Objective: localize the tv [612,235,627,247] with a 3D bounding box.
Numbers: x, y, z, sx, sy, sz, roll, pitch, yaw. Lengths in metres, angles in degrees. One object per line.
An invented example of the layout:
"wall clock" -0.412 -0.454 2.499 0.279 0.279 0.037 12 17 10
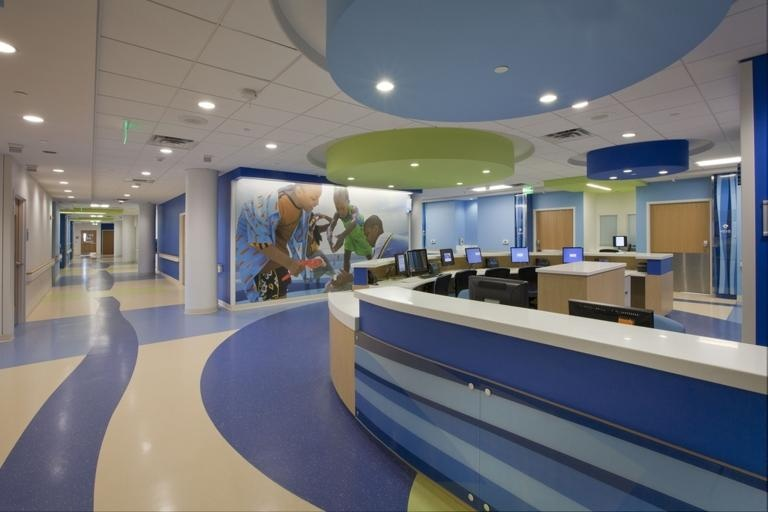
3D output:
"tv" 6.827 -0.376 13.741 0.309 0.401 0.413 9 -12 -35

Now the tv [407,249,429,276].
"tv" 0.658 0.145 9.330 0.067 0.418 0.491 -9 -9 41

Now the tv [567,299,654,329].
"tv" 2.029 0.512 4.255 0.681 0.171 0.165 3 6 37

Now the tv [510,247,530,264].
"tv" 3.097 -0.009 10.774 0.507 0.368 0.274 -1 4 -2

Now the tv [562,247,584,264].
"tv" 3.914 -0.002 9.791 0.320 0.278 0.135 -3 -8 35

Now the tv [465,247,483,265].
"tv" 1.985 0.010 10.474 0.496 0.345 0.172 7 -8 -43

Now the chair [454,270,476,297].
"chair" 1.479 0.490 8.822 0.357 0.441 0.544 1 5 15
